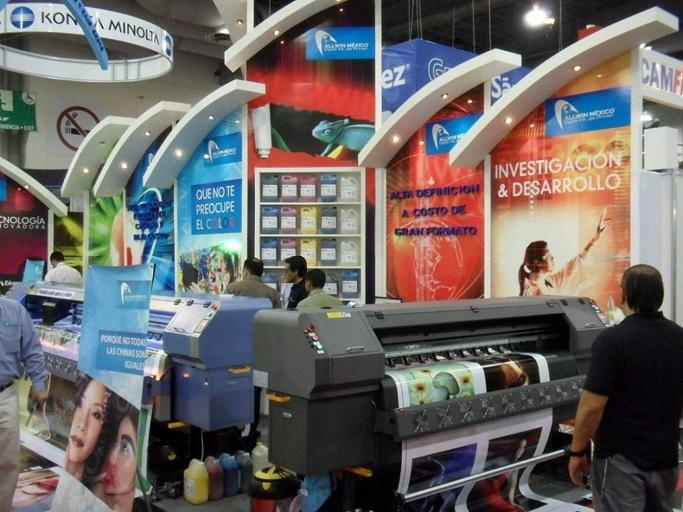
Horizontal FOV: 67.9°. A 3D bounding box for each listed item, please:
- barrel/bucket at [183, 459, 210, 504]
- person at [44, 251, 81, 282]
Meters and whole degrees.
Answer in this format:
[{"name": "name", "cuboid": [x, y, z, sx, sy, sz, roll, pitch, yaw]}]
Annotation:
[{"name": "barrel/bucket", "cuboid": [-1.290, 1.935, 4.386, 0.309, 0.348, 0.133, -2, -3, 33]}, {"name": "person", "cuboid": [-4.699, 0.165, 8.549, 0.499, 0.567, 2.323, 1, -3, -29]}]
